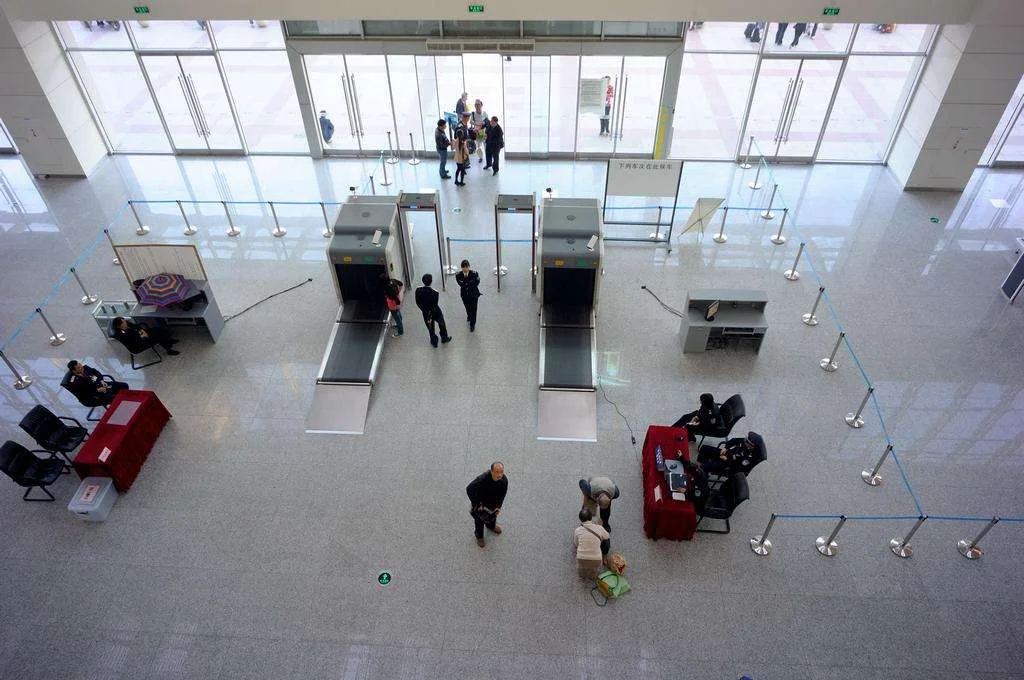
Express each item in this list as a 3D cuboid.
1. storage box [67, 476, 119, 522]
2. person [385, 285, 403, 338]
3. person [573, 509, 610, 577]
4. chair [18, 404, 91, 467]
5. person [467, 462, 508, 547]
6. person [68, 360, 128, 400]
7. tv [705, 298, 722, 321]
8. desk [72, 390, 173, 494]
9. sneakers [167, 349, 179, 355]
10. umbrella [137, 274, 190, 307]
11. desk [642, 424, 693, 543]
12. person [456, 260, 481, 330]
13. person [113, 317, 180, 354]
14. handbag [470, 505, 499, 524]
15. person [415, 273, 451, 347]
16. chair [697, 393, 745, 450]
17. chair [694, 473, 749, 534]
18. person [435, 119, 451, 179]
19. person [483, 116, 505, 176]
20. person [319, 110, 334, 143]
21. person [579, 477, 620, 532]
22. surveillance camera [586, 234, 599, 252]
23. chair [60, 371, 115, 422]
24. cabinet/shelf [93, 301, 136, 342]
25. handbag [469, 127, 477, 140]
[{"bbox_3d":[-7.689,2.888,11.858,0.702,0.555,0.815,4,57,-4],"label":"storage box"},{"bbox_3d":[-2.558,-0.739,14.047,0.360,1.263,0.805,-9,33,-9],"label":"person"},{"bbox_3d":[1.397,3.499,11.053,0.636,1.082,0.932,1,32,6],"label":"person"},{"bbox_3d":[-8.685,1.852,12.264,0.887,1.128,0.684,3,38,-4],"label":"chair"},{"bbox_3d":[-0.404,2.776,11.109,0.674,1.785,0.469,-8,33,-8],"label":"person"},{"bbox_3d":[-8.344,0.868,12.813,1.134,0.715,0.760,12,49,-22],"label":"person"},{"bbox_3d":[4.247,-0.639,13.507,0.271,0.450,0.119,11,55,9],"label":"tv"},{"bbox_3d":[-7.525,1.820,12.278,1.068,0.830,1.677,9,50,-1],"label":"desk"},{"bbox_3d":[-7.316,0.270,13.824,0.235,0.153,0.076,1,77,-16],"label":"sneakers"},{"bbox_3d":[-7.463,-1.042,13.763,1.152,0.565,0.694,-7,32,-8],"label":"umbrella"},{"bbox_3d":[2.897,2.567,11.894,1.032,0.785,2.185,0,36,7],"label":"desk"},{"bbox_3d":[-0.935,-1.048,13.999,0.465,1.748,0.586,-6,33,-4],"label":"person"},{"bbox_3d":[-7.819,-0.119,13.607,1.053,1.055,0.527,-16,34,-20],"label":"person"},{"bbox_3d":[-0.475,3.014,11.039,0.433,0.297,0.152,0,13,-7],"label":"handbag"},{"bbox_3d":[-1.657,-0.585,13.717,0.497,1.562,0.608,10,35,19],"label":"person"},{"bbox_3d":[4.159,1.484,12.399,0.922,1.123,0.765,5,69,8],"label":"chair"},{"bbox_3d":[3.747,2.940,11.418,0.720,0.899,0.591,8,66,6],"label":"chair"},{"bbox_3d":[-1.922,-5.385,18.022,0.375,1.674,0.710,-6,33,-5],"label":"person"},{"bbox_3d":[-0.567,-5.437,17.951,0.547,1.665,0.382,17,37,28],"label":"person"},{"bbox_3d":[-5.401,-6.145,18.584,0.344,0.959,0.359,-3,32,0],"label":"person"},{"bbox_3d":[1.521,2.782,11.234,0.802,1.034,0.971,-1,60,1],"label":"person"},{"bbox_3d":[1.753,-2.076,13.767,0.207,0.080,0.340,21,71,19],"label":"surveillance camera"},{"bbox_3d":[-8.443,1.136,12.727,0.695,0.954,0.517,2,76,-2],"label":"chair"},{"bbox_3d":[-8.541,-0.391,13.768,0.764,0.696,0.497,-2,43,-8],"label":"cabinet/shelf"},{"bbox_3d":[-1.093,-5.800,17.959,0.270,0.291,0.253,-13,62,-2],"label":"handbag"}]
